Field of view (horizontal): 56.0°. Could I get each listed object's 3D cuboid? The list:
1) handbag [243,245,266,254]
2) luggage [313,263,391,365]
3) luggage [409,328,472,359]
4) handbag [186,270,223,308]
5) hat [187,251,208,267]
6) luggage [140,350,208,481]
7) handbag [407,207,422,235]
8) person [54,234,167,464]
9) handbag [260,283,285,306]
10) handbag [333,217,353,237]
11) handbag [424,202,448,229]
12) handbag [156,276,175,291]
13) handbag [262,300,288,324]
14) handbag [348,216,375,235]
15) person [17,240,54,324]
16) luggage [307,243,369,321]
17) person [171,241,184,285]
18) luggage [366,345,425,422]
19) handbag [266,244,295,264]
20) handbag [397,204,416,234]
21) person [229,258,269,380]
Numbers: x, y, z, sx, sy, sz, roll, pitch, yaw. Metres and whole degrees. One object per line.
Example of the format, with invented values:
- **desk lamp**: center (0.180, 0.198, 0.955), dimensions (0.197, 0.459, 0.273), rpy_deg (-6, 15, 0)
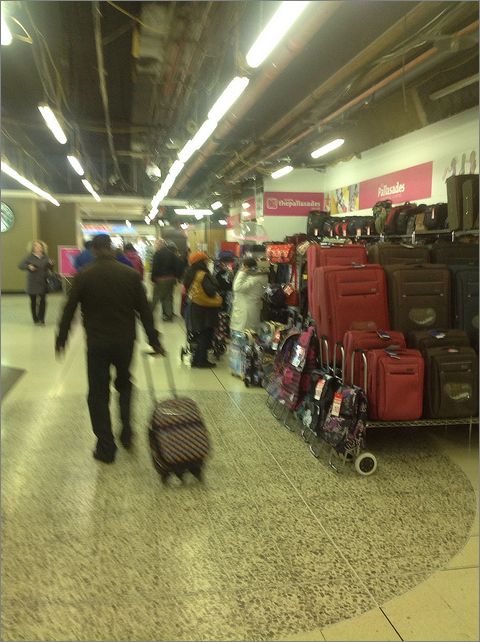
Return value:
- **handbag**: center (0.221, -1.054, 6.620), dimensions (0.272, 0.071, 0.290), rpy_deg (-2, 3, -18)
- **luggage**: center (0.885, -0.028, 3.346), dimensions (0.469, 0.697, 0.394), rpy_deg (-2, -21, 6)
- **luggage**: center (1.326, 0.122, 2.982), dimensions (0.269, 0.261, 0.189), rpy_deg (-2, 8, -8)
- **handbag**: center (-0.444, -0.517, 5.392), dimensions (0.355, 0.619, 0.639), rpy_deg (-3, 14, -17)
- **hat**: center (-0.502, -0.735, 5.339), dimensions (0.195, 0.163, 0.189), rpy_deg (0, 5, -4)
- **luggage**: center (-0.349, 0.628, 2.552), dimensions (0.322, 0.634, 0.273), rpy_deg (-1, 5, -15)
- **handbag**: center (2.614, -1.481, 6.793), dimensions (0.108, 0.387, 0.287), rpy_deg (7, 19, 3)
- **person**: center (-0.823, 0.180, 2.894), dimensions (0.657, 1.438, 0.393), rpy_deg (-1, 5, -15)
- **handbag**: center (0.378, -0.287, 5.095), dimensions (0.192, 0.255, 0.237), rpy_deg (-10, 18, -18)
- **handbag**: center (2.020, -1.757, 8.630), dimensions (0.298, 0.153, 0.437), rpy_deg (-6, 41, 22)
- **handbag**: center (2.645, -1.401, 6.068), dimensions (0.297, 0.346, 0.208), rpy_deg (4, 6, 31)
- **handbag**: center (-1.435, -0.757, 8.734), dimensions (0.402, 0.301, 0.219), rpy_deg (-3, 21, -14)
- **handbag**: center (0.417, -0.097, 5.060), dimensions (0.221, 0.228, 0.120), rpy_deg (-5, -24, 8)
- **handbag**: center (2.189, -1.707, 8.097), dimensions (0.339, 0.143, 0.474), rpy_deg (-5, 30, 13)
- **person**: center (-3.973, -0.754, 8.810), dimensions (0.590, 1.618, 1.030), rpy_deg (-2, 6, -23)
- **luggage**: center (0.842, -0.319, 3.957), dimensions (0.442, 0.735, 0.416), rpy_deg (-9, 15, -13)
- **person**: center (-1.208, -1.091, 8.740), dimensions (0.278, 0.809, 0.587), rpy_deg (-5, 28, -7)
- **luggage**: center (0.975, 0.392, 2.821), dimensions (0.326, 0.456, 0.262), rpy_deg (-2, 4, -7)
- **handbag**: center (0.474, -0.734, 4.949), dimensions (0.253, 0.255, 0.335), rpy_deg (-8, 11, -31)
- **handbag**: center (2.579, -1.582, 7.047), dimensions (0.158, 0.448, 0.338), rpy_deg (10, 12, -17)
- **person**: center (0.093, -0.023, 5.111), dimensions (0.437, 1.360, 0.592), rpy_deg (1, 5, 1)
